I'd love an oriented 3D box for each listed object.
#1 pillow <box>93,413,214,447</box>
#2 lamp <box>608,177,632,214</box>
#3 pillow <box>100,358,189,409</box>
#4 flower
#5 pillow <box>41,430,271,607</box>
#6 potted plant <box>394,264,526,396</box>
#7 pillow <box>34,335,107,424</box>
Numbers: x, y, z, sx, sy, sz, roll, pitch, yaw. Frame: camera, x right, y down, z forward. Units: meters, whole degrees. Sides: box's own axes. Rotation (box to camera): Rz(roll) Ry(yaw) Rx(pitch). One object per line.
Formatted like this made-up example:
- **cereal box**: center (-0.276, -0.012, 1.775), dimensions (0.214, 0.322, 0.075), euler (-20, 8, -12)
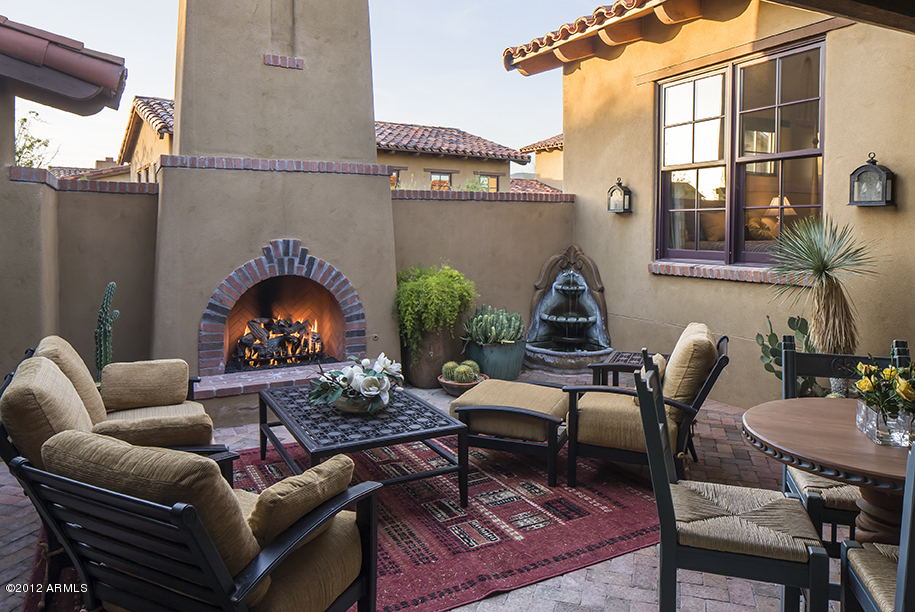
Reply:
- **pillow**: center (-2.064, 0.848, 4.108), dimensions (0.361, 0.122, 0.369), euler (2, 0, -9)
- **lamp**: center (2.175, -1.477, 8.187), dimensions (0.155, 0.487, 0.335), euler (-2, 5, -31)
- **pillow**: center (-2.678, 0.673, 5.187), dimensions (0.571, 0.387, 0.417), euler (0, 6, -21)
- **flower**: center (-0.900, 0.685, 5.254), dimensions (0.551, 0.259, 0.566), euler (0, -1, 16)
- **pillow**: center (-1.439, 0.938, 3.137), dimensions (0.896, 0.804, 0.860), euler (1, 2, 13)
- **potted plant**: center (-0.059, 0.273, 8.425), dimensions (1.886, 2.068, 1.441), euler (-1, 2, -37)
- **pillow**: center (-2.847, 0.520, 4.525), dimensions (0.257, 0.630, 0.637), euler (-24, 1, -16)
